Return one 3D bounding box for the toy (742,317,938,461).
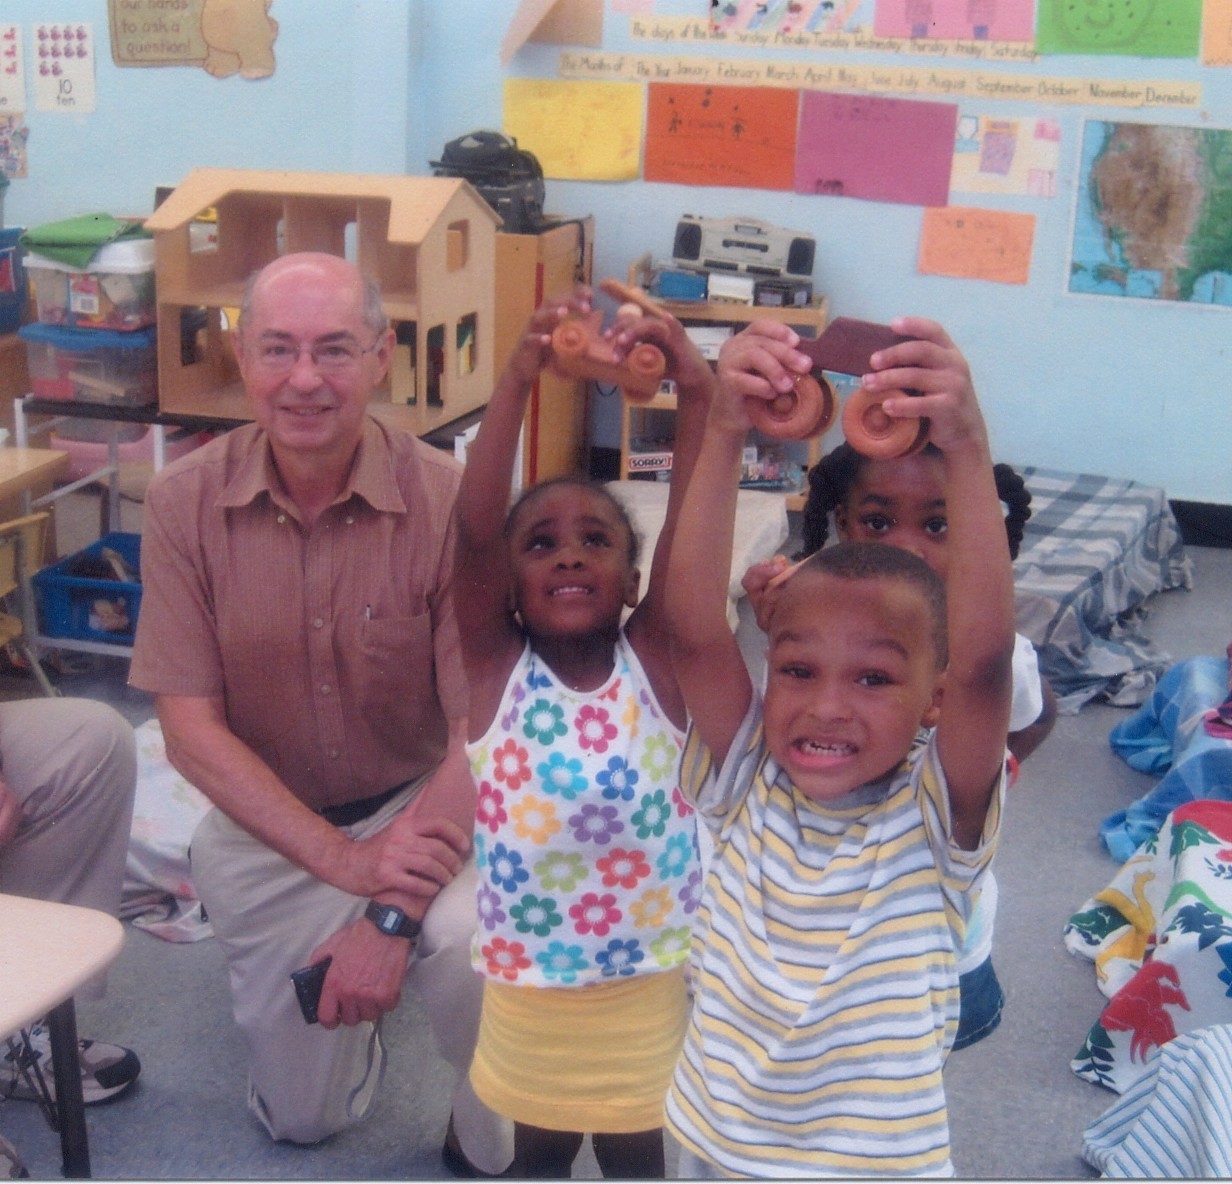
[{"bbox_3d":[0.199,-0.170,1.073,0.143,0.120,0.156,11,20,29],"label":"toy"}]

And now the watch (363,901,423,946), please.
[{"bbox_3d":[-0.299,0.448,1.737,0.059,0.047,0.068,-7,-24,39],"label":"watch"}]

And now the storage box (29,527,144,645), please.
[{"bbox_3d":[-1.370,-0.030,3.465,0.231,0.148,0.382,2,10,3],"label":"storage box"}]

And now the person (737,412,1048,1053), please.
[{"bbox_3d":[0.322,0.229,1.521,0.367,0.912,0.308,4,-7,9],"label":"person"}]

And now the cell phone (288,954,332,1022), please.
[{"bbox_3d":[-0.406,0.537,1.717,0.075,0.084,0.018,-16,14,-32],"label":"cell phone"}]

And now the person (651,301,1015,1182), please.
[{"bbox_3d":[0.189,0.222,1.131,0.298,0.912,0.337,1,17,4],"label":"person"}]
